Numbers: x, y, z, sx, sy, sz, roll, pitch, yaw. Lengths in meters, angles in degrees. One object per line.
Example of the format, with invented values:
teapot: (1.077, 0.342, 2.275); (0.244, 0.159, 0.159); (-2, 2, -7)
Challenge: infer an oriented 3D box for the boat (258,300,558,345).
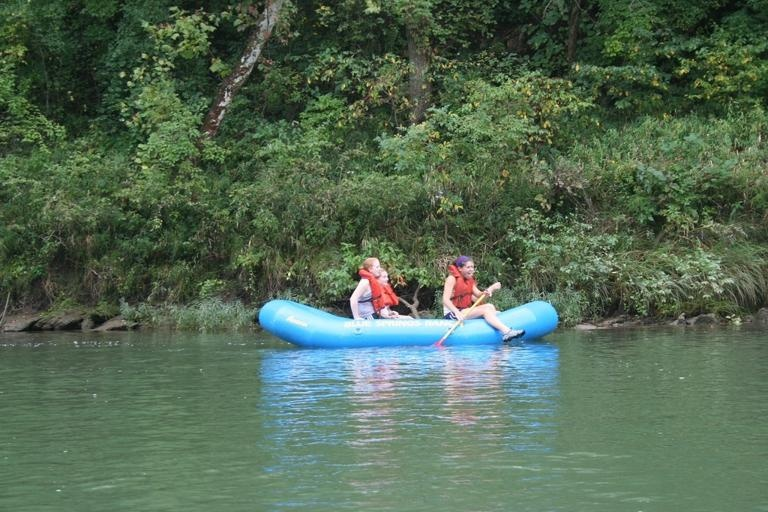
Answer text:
boat: (0.517, 1.547, 22.942); (5.954, 1.110, 2.026); (2, -6, -3)

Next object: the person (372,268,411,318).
person: (0.105, 0.820, 23.111); (0.761, 1.053, 0.720); (-4, 4, -34)

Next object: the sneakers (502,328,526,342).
sneakers: (2.572, 1.585, 22.407); (0.500, 0.265, 0.188); (-19, -37, -13)
